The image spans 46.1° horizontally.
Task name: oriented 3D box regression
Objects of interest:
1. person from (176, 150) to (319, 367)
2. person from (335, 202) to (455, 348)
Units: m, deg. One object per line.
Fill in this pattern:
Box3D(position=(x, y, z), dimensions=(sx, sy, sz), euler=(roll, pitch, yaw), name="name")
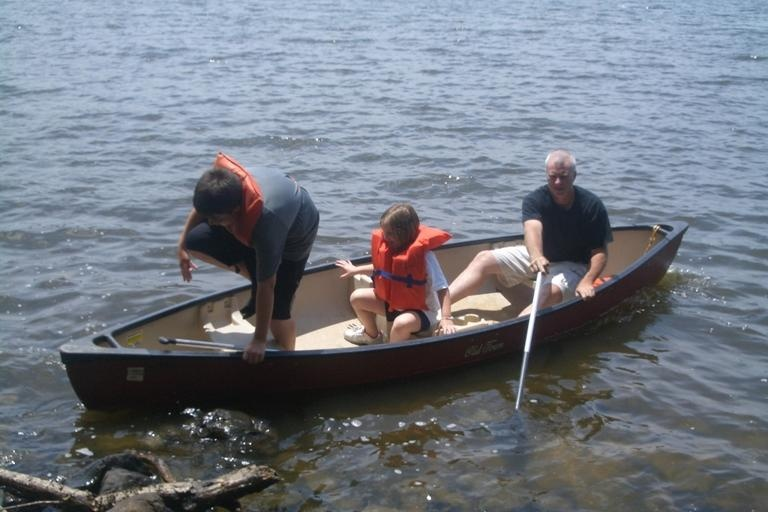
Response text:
Box3D(position=(-1.451, 0.041, 10.297), dimensions=(1.265, 2.329, 1.451), euler=(-23, 37, -35), name="person")
Box3D(position=(0.133, 0.310, 11.249), dimensions=(1.074, 1.257, 1.990), euler=(-11, 20, -44), name="person")
